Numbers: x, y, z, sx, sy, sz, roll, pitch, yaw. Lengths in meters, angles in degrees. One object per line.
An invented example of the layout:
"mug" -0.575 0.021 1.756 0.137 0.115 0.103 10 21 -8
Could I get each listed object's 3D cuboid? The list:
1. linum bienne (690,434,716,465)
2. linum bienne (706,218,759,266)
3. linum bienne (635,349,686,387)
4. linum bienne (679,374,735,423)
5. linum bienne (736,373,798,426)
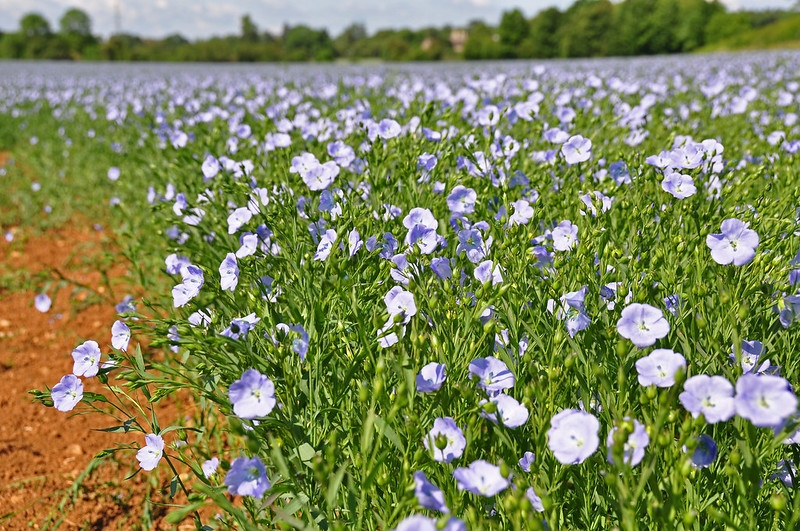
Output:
"linum bienne" 1.936 1.198 4.912 0.162 0.214 0.086 7 1 -19
"linum bienne" 2.358 -0.207 5.277 0.345 0.152 0.325 -3 38 -22
"linum bienne" 1.681 0.686 4.977 0.275 0.263 0.154 5 33 4
"linum bienne" 1.872 0.826 4.683 0.291 0.137 0.324 -15 22 26
"linum bienne" 2.183 0.805 4.553 0.348 0.252 0.191 7 34 7
